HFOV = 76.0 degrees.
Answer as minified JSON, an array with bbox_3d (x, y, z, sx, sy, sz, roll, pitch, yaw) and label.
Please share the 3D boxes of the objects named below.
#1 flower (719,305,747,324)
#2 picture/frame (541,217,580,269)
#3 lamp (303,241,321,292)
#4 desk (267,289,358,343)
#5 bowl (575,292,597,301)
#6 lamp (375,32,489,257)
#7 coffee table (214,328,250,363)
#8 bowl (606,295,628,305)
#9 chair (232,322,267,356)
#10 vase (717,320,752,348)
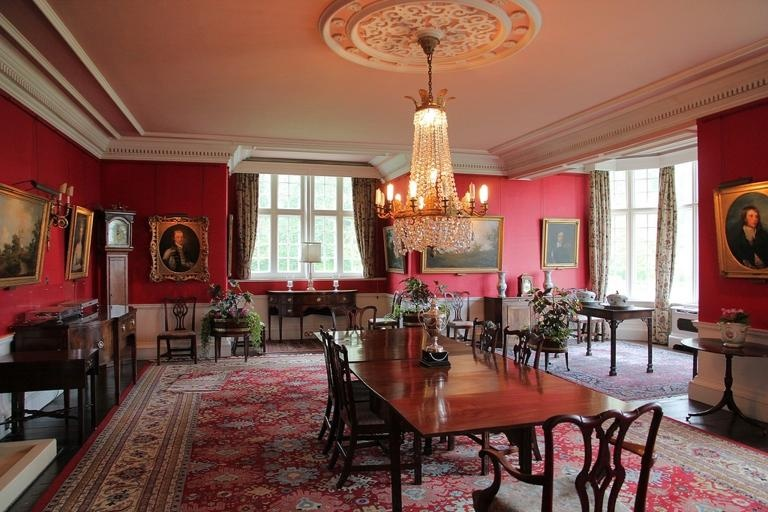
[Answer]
[{"bbox_3d":[4.510,0.760,6.316,0.276,0.130,0.249,-3,-1,-2],"label":"flower"},{"bbox_3d":[4.046,-0.285,11.322,0.985,1.125,0.165,-1,7,-18],"label":"picture/frame"},{"bbox_3d":[-1.739,0.213,11.506,0.394,1.100,0.809,0,6,-9],"label":"lamp"},{"bbox_3d":[-1.633,1.248,10.479,1.487,0.624,0.478,0,-3,-22],"label":"desk"},{"bbox_3d":[3.865,0.770,9.434,0.245,0.139,0.225,0,-10,0],"label":"bowl"},{"bbox_3d":[0.643,-1.298,6.433,1.369,2.521,2.536,1,6,6],"label":"lamp"},{"bbox_3d":[-2.924,1.697,9.404,0.804,0.679,0.692,0,-6,-5],"label":"coffee table"},{"bbox_3d":[4.076,0.766,8.636,0.273,0.158,0.246,0,-6,5],"label":"bowl"},{"bbox_3d":[-2.670,1.619,9.604,0.902,0.725,0.594,0,-7,-3],"label":"chair"},{"bbox_3d":[4.397,0.986,6.251,0.368,0.256,0.330,2,-7,-7],"label":"vase"}]
